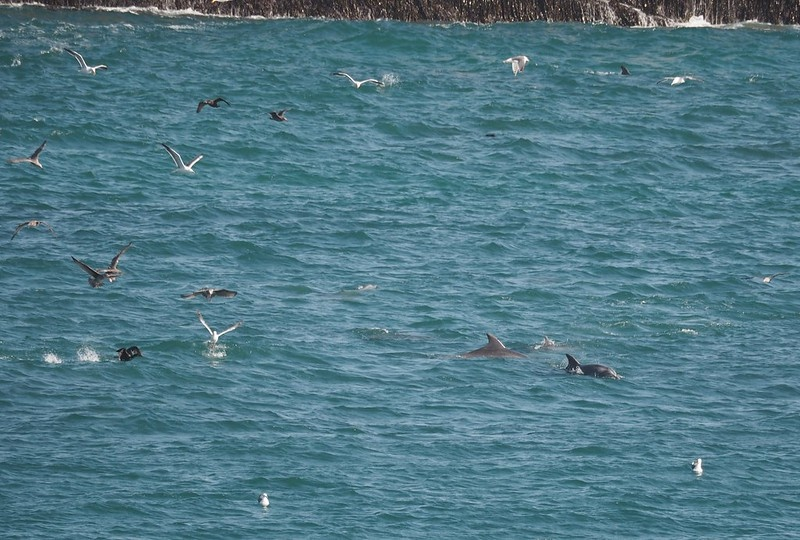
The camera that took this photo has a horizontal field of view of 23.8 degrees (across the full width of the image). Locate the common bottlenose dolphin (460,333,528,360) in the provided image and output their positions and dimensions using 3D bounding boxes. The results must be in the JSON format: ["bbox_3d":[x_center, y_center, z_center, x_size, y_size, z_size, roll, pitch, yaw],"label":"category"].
[{"bbox_3d":[4.019,3.408,83.096,2.525,0.735,0.877,1,68,1],"label":"common bottlenose dolphin"}]
